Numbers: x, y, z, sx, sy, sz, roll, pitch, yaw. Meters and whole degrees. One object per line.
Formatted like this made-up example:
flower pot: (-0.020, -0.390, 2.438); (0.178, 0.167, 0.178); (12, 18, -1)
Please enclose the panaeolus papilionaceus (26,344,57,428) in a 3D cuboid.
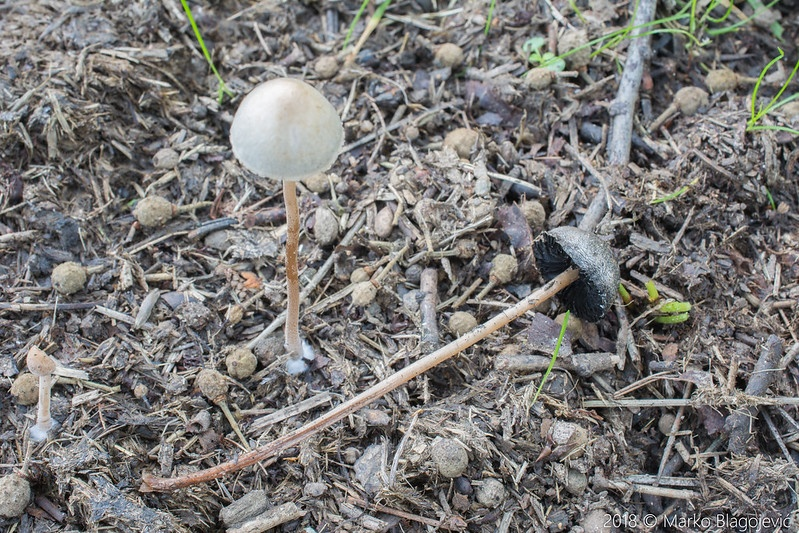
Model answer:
panaeolus papilionaceus: (-2.491, 0.861, 4.981); (0.195, 0.591, 0.196); (10, 44, -15)
